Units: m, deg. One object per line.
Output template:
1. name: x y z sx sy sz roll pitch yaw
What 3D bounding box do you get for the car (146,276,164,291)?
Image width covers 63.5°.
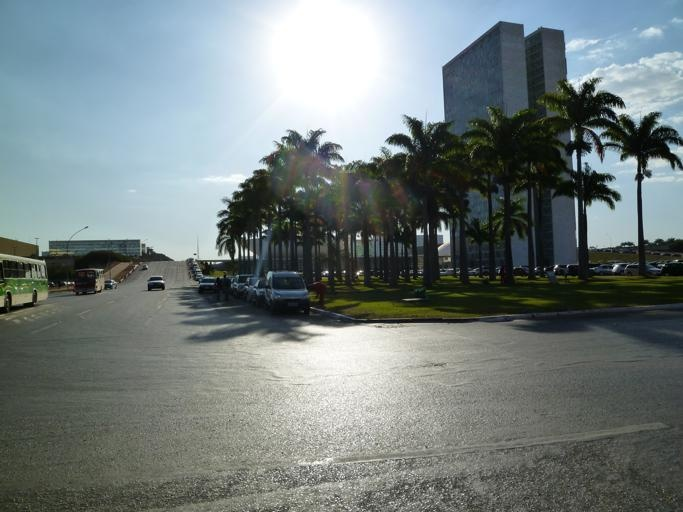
1. car: -22.861 3.477 68.914 1.327 1.295 3.155 0 -7 -11

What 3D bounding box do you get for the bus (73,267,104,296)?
1. bus: -28.352 3.047 62.891 1.914 3.052 6.039 -1 -7 -8

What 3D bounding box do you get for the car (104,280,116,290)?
1. car: -33.316 4.264 80.003 1.396 1.414 2.446 1 4 0
